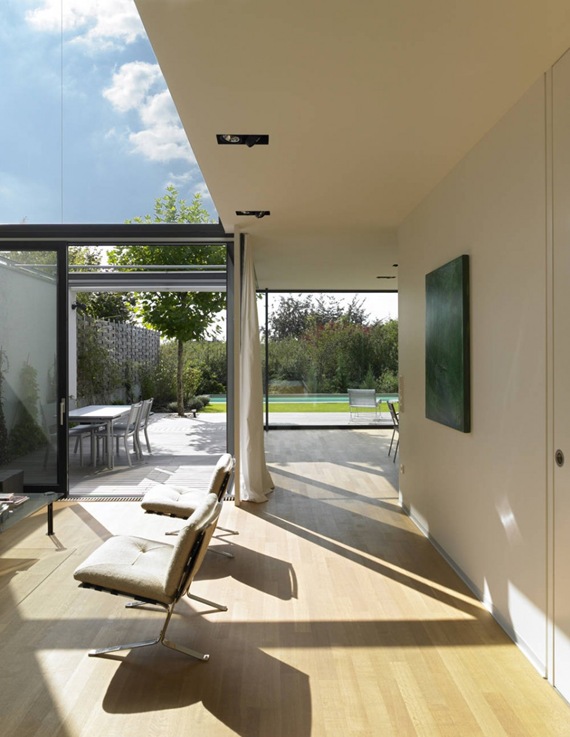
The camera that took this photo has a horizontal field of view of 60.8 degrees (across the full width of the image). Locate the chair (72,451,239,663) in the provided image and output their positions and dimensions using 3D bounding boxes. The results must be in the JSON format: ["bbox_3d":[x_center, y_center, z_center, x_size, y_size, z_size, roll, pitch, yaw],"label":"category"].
[{"bbox_3d":[-0.618,0.767,2.314,0.555,0.773,1.029,4,-4,3],"label":"chair"}]

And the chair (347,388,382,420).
[{"bbox_3d":[1.427,0.600,8.830,0.483,0.795,0.540,-1,3,9],"label":"chair"}]
